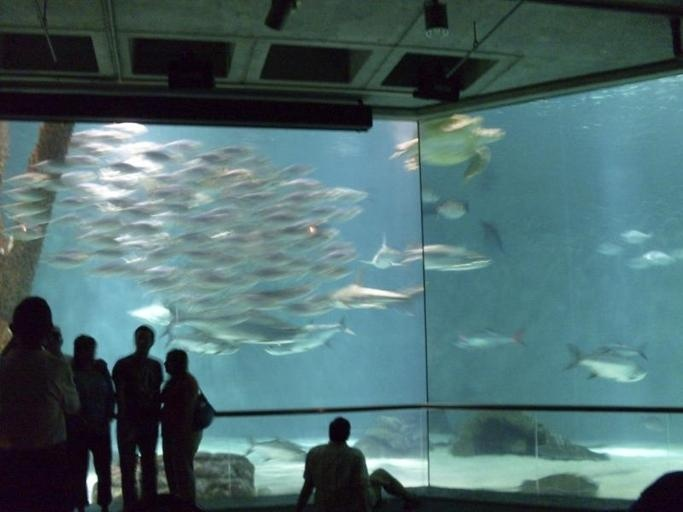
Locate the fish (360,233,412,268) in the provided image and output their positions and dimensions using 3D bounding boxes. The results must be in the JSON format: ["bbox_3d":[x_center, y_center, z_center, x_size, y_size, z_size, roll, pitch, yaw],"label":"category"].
[{"bbox_3d":[1.845,-0.225,34.570,1.918,1.436,2.014,2,-2,-31],"label":"fish"}]

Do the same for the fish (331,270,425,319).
[{"bbox_3d":[2.274,1.672,38.105,6.524,2.150,1.682,2,-7,5],"label":"fish"}]

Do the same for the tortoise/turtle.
[{"bbox_3d":[2.130,-2.425,18.489,2.791,0.783,1.963,-14,-28,39],"label":"tortoise/turtle"}]

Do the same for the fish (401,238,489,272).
[{"bbox_3d":[2.239,-0.021,18.479,1.972,0.673,1.360,2,-4,-21],"label":"fish"}]
